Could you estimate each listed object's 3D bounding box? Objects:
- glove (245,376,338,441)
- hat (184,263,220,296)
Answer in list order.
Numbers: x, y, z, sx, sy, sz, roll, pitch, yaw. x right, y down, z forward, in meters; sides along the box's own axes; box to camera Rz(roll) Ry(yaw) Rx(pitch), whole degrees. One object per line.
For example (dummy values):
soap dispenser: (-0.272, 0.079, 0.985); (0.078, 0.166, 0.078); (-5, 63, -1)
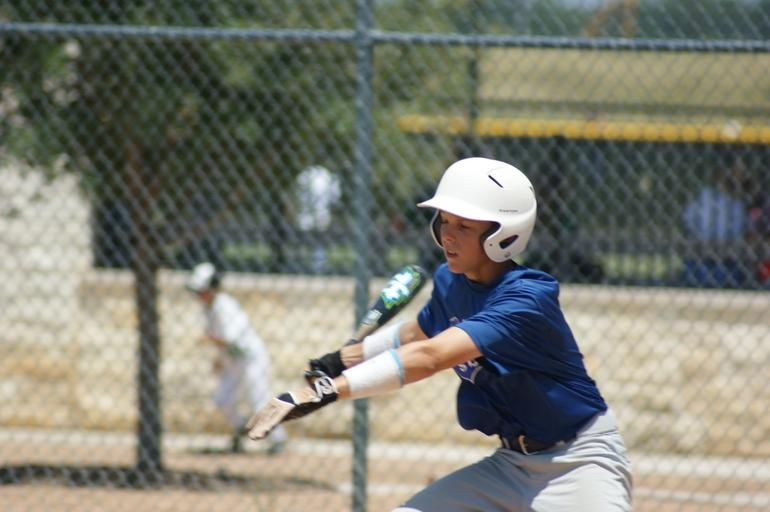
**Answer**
glove: (-0.671, 1.062, 9.678); (0.620, 0.216, 0.363); (-29, 16, -17)
hat: (-1.713, 0.221, 12.648); (0.256, 0.325, 0.361); (-3, -27, 18)
